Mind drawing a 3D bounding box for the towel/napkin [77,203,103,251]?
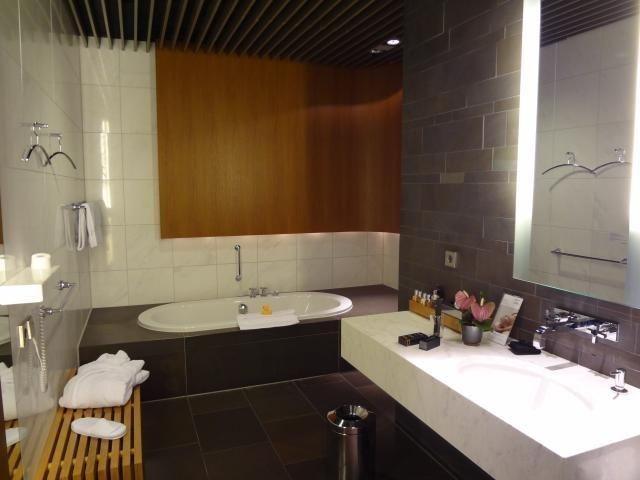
[{"bbox_3d":[-1.975,-0.153,3.983,0.169,0.368,0.450,-4,16,-24],"label":"towel/napkin"}]

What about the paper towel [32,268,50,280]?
[{"bbox_3d":[-1.273,0.155,2.153,0.071,0.061,0.077,1,1,2],"label":"paper towel"}]

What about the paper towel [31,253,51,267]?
[{"bbox_3d":[-1.348,0.099,2.273,0.081,0.059,0.084,1,2,-18],"label":"paper towel"}]

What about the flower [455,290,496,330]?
[{"bbox_3d":[0.886,0.403,2.728,0.186,0.095,0.200,-18,20,-30],"label":"flower"}]

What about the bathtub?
[{"bbox_3d":[-0.687,0.748,4.517,1.963,0.298,0.999,-4,12,-18],"label":"bathtub"}]

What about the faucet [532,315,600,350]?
[{"bbox_3d":[1.255,0.454,2.379,0.397,0.165,0.083,-2,15,-14],"label":"faucet"}]

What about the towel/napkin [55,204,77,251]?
[{"bbox_3d":[-1.791,-0.091,3.319,0.054,0.387,0.320,0,2,-19],"label":"towel/napkin"}]

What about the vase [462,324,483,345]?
[{"bbox_3d":[0.851,0.532,2.659,0.096,0.099,0.111,0,-2,10],"label":"vase"}]
